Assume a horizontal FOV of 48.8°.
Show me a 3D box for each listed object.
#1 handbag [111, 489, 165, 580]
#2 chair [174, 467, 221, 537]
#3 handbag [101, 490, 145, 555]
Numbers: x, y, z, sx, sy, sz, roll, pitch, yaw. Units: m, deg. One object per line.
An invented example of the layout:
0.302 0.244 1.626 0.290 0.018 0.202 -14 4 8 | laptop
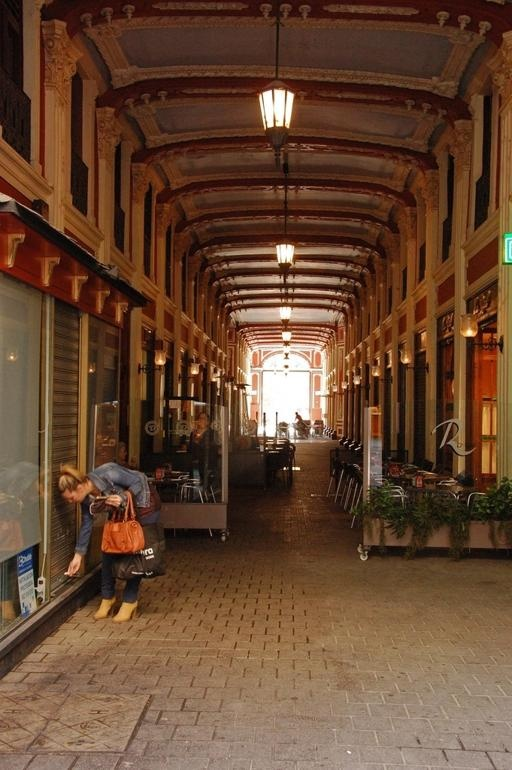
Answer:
-0.904 1.215 4.568 0.319 0.778 0.327 1 -18 -24 | handbag
-0.906 1.827 8.956 0.646 0.761 0.961 0 -5 5 | chair
-1.034 1.062 4.378 0.322 0.452 0.115 -3 -6 27 | handbag
